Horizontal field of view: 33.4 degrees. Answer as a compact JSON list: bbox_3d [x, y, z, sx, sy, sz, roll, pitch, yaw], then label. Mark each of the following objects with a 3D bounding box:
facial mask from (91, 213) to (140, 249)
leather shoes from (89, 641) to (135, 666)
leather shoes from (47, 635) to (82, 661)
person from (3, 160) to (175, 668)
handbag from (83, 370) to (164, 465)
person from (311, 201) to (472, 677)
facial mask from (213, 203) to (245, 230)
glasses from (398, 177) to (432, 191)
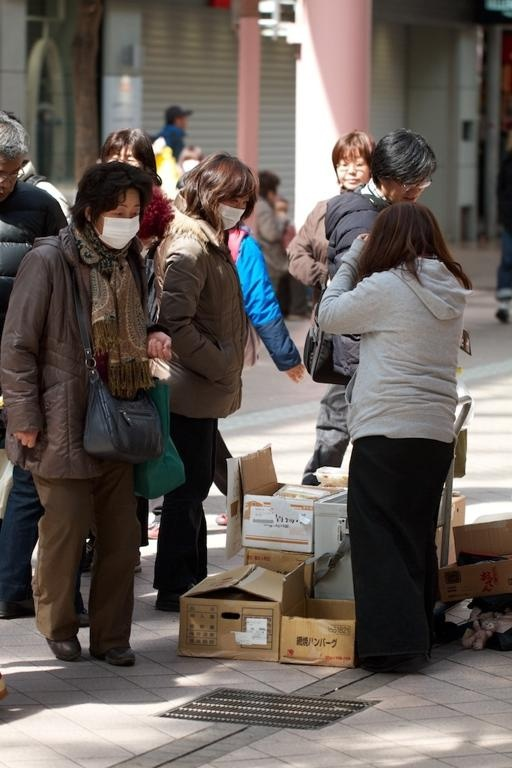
[{"bbox_3d":[-0.489,-0.537,2.962,0.121,0.094,0.116,-15,38,-38],"label":"facial mask"},{"bbox_3d":[-0.529,1.002,3.164,0.183,0.068,0.062,-8,-9,40],"label":"leather shoes"},{"bbox_3d":[-0.693,0.969,3.125,0.059,0.063,0.161,-11,-2,-39],"label":"leather shoes"},{"bbox_3d":[-0.601,0.127,3.018,0.576,1.798,0.455,2,-1,-7],"label":"person"},{"bbox_3d":[-0.467,0.119,2.933,0.142,0.276,0.286,-18,-26,32],"label":"handbag"},{"bbox_3d":[0.487,0.155,3.112,0.535,1.648,0.313,1,-1,12],"label":"person"},{"bbox_3d":[-0.105,-0.718,3.693,0.094,0.100,0.197,1,-2,7],"label":"facial mask"},{"bbox_3d":[0.679,-0.888,3.769,0.116,0.031,0.115,-9,10,-43],"label":"glasses"}]
